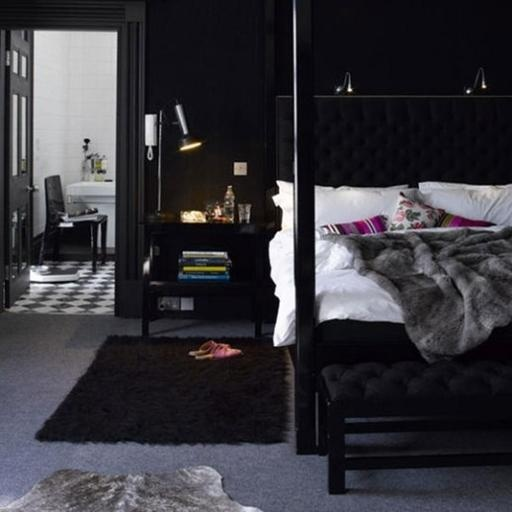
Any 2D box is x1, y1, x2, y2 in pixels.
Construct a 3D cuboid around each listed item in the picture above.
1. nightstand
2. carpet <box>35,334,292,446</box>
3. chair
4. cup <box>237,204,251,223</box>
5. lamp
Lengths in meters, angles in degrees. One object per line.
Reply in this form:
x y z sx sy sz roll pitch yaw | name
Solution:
-0.380 0.062 3.966 0.976 0.955 0.822 0 1 2 | nightstand
-0.413 0.684 2.864 1.204 0.027 1.485 0 7 -1 | carpet
-2.182 -0.402 6.158 0.752 1.125 0.927 -2 6 -21 | chair
-0.102 -0.329 3.966 0.120 0.169 0.131 2 9 0 | cup
-0.658 -0.752 3.991 0.462 0.860 0.321 0 5 -3 | lamp
